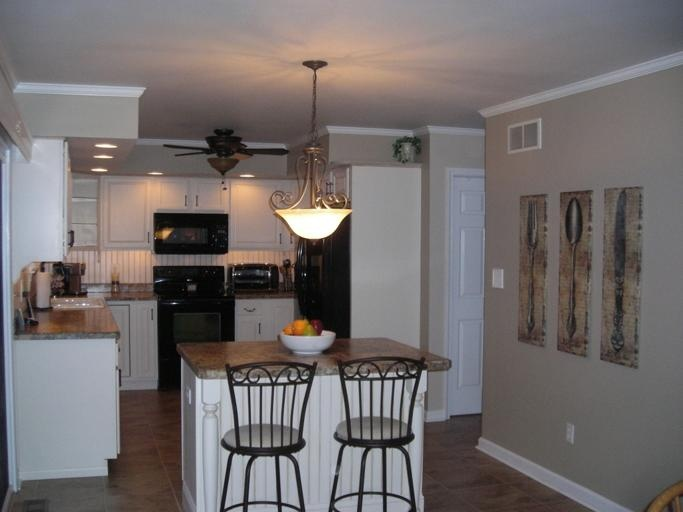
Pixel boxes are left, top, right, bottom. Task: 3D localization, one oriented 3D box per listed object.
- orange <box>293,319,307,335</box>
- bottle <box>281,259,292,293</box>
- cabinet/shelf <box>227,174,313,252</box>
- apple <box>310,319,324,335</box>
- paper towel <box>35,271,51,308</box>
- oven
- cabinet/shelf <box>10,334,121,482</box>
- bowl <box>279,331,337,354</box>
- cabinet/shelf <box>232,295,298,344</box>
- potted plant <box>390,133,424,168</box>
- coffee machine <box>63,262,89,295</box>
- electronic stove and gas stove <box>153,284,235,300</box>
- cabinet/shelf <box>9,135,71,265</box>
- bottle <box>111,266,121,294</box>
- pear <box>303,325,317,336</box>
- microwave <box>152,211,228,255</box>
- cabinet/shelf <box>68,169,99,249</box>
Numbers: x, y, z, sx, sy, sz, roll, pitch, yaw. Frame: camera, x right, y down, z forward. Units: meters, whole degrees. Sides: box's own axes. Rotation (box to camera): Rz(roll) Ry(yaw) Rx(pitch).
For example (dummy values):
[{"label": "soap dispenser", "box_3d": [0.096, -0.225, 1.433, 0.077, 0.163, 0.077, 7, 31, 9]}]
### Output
[{"label": "orange", "box_3d": [-0.280, 0.478, 3.906, 0.082, 0.107, 0.086, 0, 2, 14]}, {"label": "bottle", "box_3d": [-0.731, 0.249, 7.776, 0.161, 0.402, 0.348, 1, 4, -6]}, {"label": "cabinet/shelf", "box_3d": [-0.997, -0.479, 7.817, 1.363, 1.397, 0.729, 0, 1, -20]}, {"label": "apple", "box_3d": [-0.171, 0.476, 3.933, 0.104, 0.120, 0.108, -2, -2, -8]}, {"label": "paper towel", "box_3d": [-2.851, 0.329, 5.522, 0.153, 0.331, 0.127, 1, 4, -9]}, {"label": "oven", "box_3d": [-1.795, 1.143, 7.200, 0.925, 1.114, 0.800, -3, -24, -9]}, {"label": "cabinet/shelf", "box_3d": [-2.291, 1.173, 5.010, 0.898, 1.339, 0.917, -1, 1, -17]}, {"label": "bowl", "box_3d": [-0.236, 0.579, 3.873, 0.360, 0.138, 0.227, 1, 3, -8]}, {"label": "cabinet/shelf", "box_3d": [-0.914, 0.948, 7.324, 0.900, 0.845, 0.354, -2, -6, 19]}, {"label": "potted plant", "box_3d": [0.676, -1.073, 5.962, 0.270, 0.244, 0.293, 0, -2, -1]}, {"label": "coffee machine", "box_3d": [-3.238, 0.280, 7.000, 0.355, 0.482, 0.265, -1, 3, -23]}, {"label": "electronic stove and gas stove", "box_3d": [-1.844, 0.429, 7.191, 0.948, 0.139, 0.557, 0, 3, -17]}, {"label": "cabinet/shelf", "box_3d": [-2.320, -0.434, 4.432, 0.303, 0.854, 0.888, -1, 4, -22]}, {"label": "bottle", "box_3d": [-2.843, 0.296, 7.295, 0.098, 0.303, 0.177, -1, 4, -23]}, {"label": "pear", "box_3d": [-0.211, 0.495, 3.822, 0.054, 0.077, 0.057, -8, 0, 12]}, {"label": "microwave", "box_3d": [-1.875, -0.294, 7.258, 0.910, 0.509, 0.175, 0, 4, -23]}, {"label": "cabinet/shelf", "box_3d": [-3.149, -0.525, 7.180, 0.362, 0.871, 0.273, 1, 9, -12]}]
